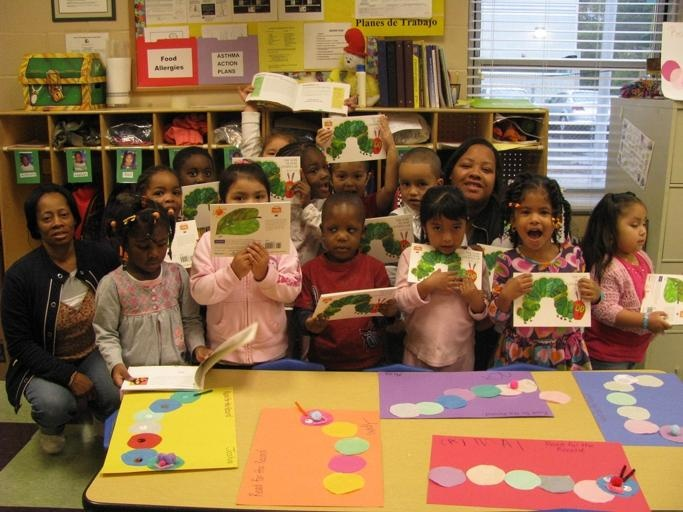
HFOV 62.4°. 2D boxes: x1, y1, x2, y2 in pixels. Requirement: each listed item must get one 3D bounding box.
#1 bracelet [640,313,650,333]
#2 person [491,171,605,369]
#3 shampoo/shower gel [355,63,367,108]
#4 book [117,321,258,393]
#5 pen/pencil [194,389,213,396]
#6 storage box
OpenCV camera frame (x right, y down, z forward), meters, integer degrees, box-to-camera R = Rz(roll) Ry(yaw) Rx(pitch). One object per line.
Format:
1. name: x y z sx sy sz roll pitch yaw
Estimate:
1. bracelet: 1.271 0.266 2.350 0.033 0.074 0.032 13 22 42
2. person: 0.827 0.071 2.298 0.401 0.768 0.459 3 17 16
3. shampoo/shower gel: 0.125 -1.077 3.552 0.069 0.250 0.067 2 17 12
4. book: -0.508 0.323 1.919 0.449 0.167 0.237 4 14 -4
5. pen/pencil: -0.463 0.452 1.885 0.017 0.007 0.074 31 19 30
6. storage box: -1.882 -1.186 3.820 0.460 0.324 0.335 2 20 1
